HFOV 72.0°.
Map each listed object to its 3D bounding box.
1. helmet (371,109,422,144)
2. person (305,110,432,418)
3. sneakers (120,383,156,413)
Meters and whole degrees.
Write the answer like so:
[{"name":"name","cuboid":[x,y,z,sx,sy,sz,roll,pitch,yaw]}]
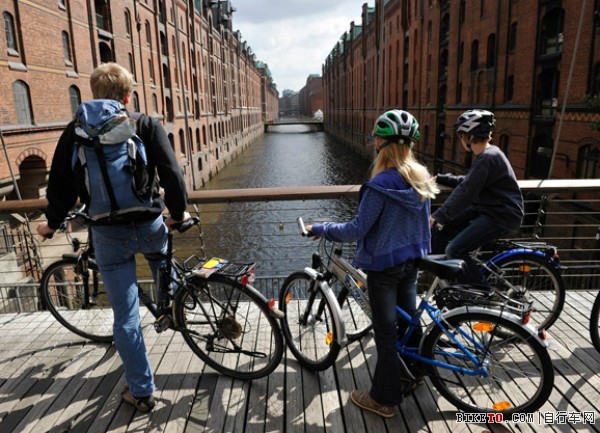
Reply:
[{"name":"helmet","cuboid":[0.831,-0.762,3.585,0.364,0.289,0.496,6,3,-16]},{"name":"person","cuboid":[0.708,0.432,3.645,0.944,2.636,0.655,2,16,9]},{"name":"sneakers","cuboid":[-1.535,1.711,3.910,0.370,0.176,0.155,12,23,27]}]
